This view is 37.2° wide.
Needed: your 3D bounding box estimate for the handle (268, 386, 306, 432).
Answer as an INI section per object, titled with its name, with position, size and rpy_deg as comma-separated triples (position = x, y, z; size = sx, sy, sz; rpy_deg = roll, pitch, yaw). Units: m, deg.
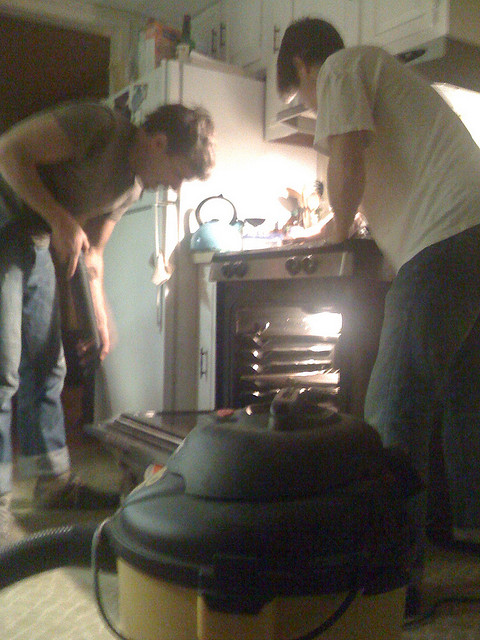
[handle]
position = 0.017, 0.033, 0.265
size = 0.009, 0.016, 0.011
rpy_deg = -4, 9, -36
